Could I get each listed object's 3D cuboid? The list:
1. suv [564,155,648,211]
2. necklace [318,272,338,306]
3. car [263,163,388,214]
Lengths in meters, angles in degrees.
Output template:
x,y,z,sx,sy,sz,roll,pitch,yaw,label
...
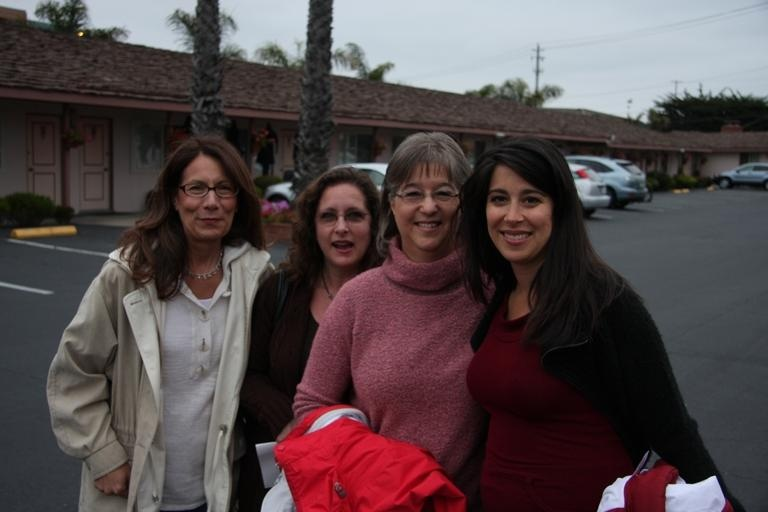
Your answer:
x,y,z,sx,sy,sz,roll,pitch,yaw,label
7.216,-2.687,20.243,4.242,1.667,1.981,6,9,27,suv
-0.304,0.173,2.929,0.054,0.014,0.193,-25,54,1,necklace
-1.962,-1.940,15.908,4.114,1.473,1.919,1,9,0,car
